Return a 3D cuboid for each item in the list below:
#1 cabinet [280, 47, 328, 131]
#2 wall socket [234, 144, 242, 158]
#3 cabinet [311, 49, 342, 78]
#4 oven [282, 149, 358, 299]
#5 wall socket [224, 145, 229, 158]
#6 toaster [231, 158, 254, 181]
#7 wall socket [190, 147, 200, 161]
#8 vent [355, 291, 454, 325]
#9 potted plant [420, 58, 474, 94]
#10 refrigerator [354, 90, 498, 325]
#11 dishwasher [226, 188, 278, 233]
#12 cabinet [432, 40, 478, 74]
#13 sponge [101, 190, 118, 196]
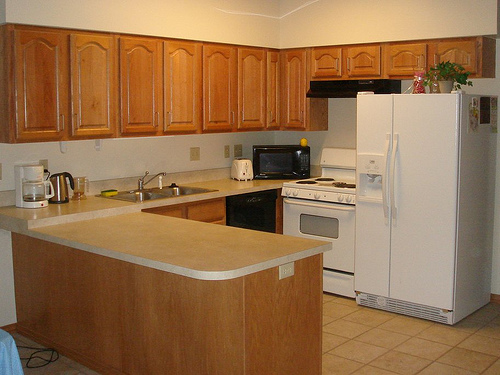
[{"bbox_3d":[0.710,-1.172,5.263,0.488,1.118,0.454,5,7,39],"label":"cabinet"},{"bbox_3d":[-0.142,-0.475,5.431,0.021,0.157,0.128,7,10,39],"label":"wall socket"},{"bbox_3d":[0.928,-1.494,4.951,0.436,0.357,0.232,4,22,21],"label":"cabinet"},{"bbox_3d":[0.947,0.312,4.864,0.896,1.457,0.979,-8,11,-40],"label":"oven"},{"bbox_3d":[-0.282,-0.460,5.306,0.058,0.162,0.009,-5,10,-37],"label":"wall socket"},{"bbox_3d":[-0.097,-0.229,5.214,0.230,0.265,0.292,-3,8,-33],"label":"toaster"},{"bbox_3d":[-0.640,-0.404,4.979,0.011,0.150,0.143,7,10,42],"label":"wall socket"},{"bbox_3d":[1.599,1.295,4.483,1.027,0.207,0.936,13,-14,6],"label":"vent"},{"bbox_3d":[1.899,-1.056,4.058,0.402,0.270,0.402,-1,9,0],"label":"potted plant"},{"bbox_3d":[1.778,0.198,4.421,1.223,2.444,1.167,3,5,42],"label":"refrigerator"},{"bbox_3d":[0.057,0.290,4.686,0.732,0.500,0.076,-6,10,-39],"label":"dishwasher"},{"bbox_3d":[2.056,-1.248,4.151,0.264,0.353,0.466,-10,16,-43],"label":"cabinet"},{"bbox_3d":[-1.377,0.052,4.140,0.152,0.041,0.144,-2,9,-19],"label":"sponge"}]
